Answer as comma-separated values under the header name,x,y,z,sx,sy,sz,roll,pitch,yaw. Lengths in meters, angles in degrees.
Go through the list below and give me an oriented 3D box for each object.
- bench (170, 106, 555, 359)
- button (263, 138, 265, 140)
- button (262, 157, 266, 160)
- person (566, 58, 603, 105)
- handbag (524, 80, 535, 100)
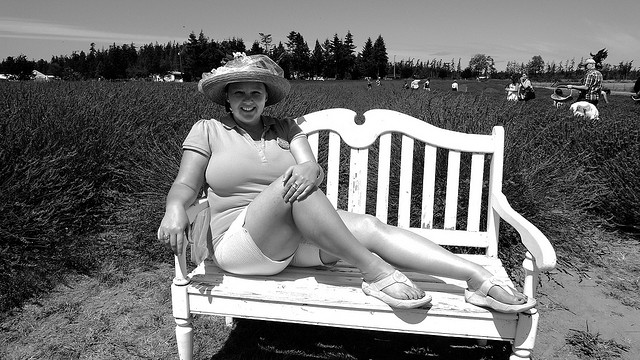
name,x,y,z,sx,sy,sz,roll,pitch,yaw
bench,0.449,0.441,4.560,3.191,2.351,2.252,3,17,2
button,-0.535,-0.391,3.981,0.021,0.039,0.024,0,8,-4
button,-0.520,-0.204,3.909,0.033,0.016,0.014,-9,21,-34
person,6.697,-2.436,10.479,0.552,1.125,1.544,12,20,30
handbag,6.798,-2.873,13.685,0.284,0.485,0.113,-2,5,-1
